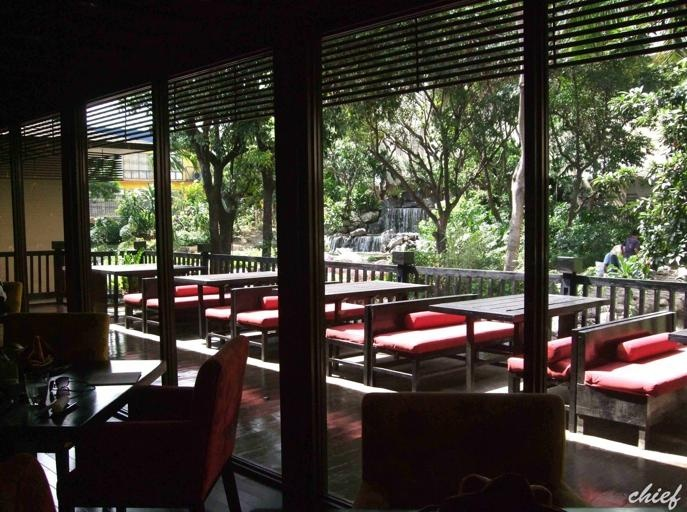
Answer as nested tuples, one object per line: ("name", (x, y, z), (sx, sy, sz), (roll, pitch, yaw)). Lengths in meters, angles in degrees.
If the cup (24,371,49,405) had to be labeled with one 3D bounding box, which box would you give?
("cup", (-1.371, 0.591, 2.422), (0.116, 0.147, 0.123), (-1, -6, 0))
